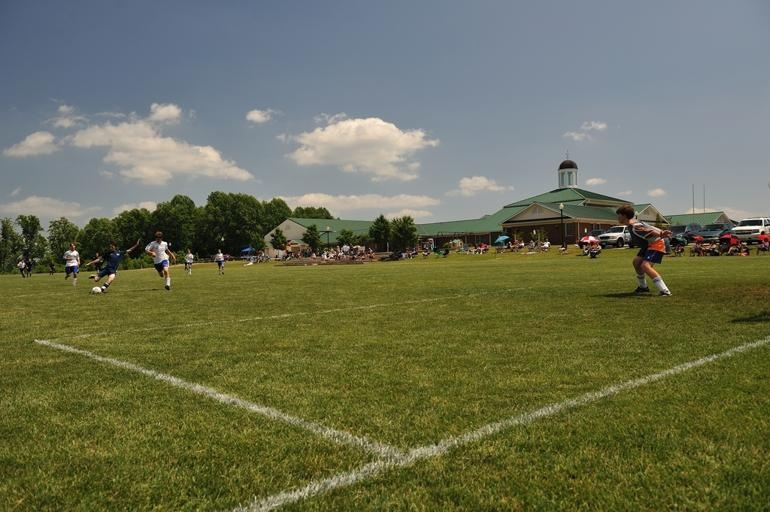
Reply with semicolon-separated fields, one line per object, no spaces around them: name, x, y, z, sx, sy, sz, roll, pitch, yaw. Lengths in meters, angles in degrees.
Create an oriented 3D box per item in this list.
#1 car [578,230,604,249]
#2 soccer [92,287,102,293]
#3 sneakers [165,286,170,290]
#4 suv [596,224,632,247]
car;17.488;-1.357;52.597;2.113;0.801;2.073;-5;6;-3
soccer;-8.966;1.117;19.211;0.238;0.124;0.234;8;-1;6
sneakers;-7.286;1.100;20.609;0.107;0.127;0.142;29;-7;-35
suv;17.743;-1.465;47.622;2.014;1.648;3.428;0;5;22
